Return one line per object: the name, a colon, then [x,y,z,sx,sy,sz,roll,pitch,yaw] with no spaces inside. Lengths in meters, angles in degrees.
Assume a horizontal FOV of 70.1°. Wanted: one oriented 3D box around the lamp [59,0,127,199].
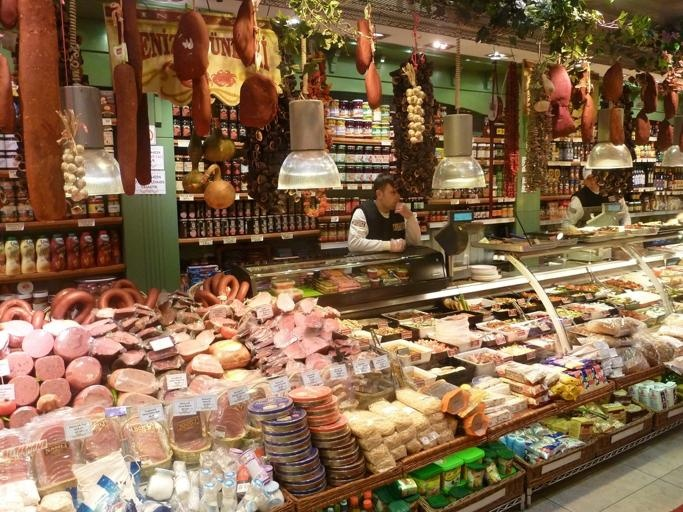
lamp: [-1.087,-0.638,1.991,0.205,0.656,0.466,-13,7,-22]
